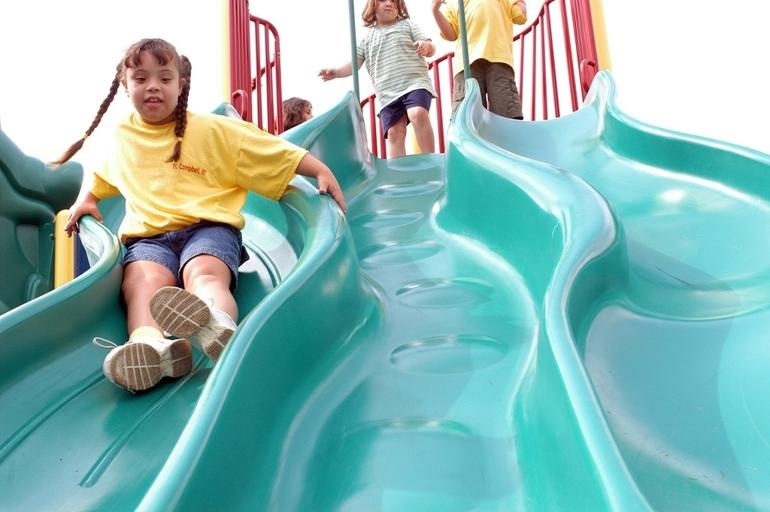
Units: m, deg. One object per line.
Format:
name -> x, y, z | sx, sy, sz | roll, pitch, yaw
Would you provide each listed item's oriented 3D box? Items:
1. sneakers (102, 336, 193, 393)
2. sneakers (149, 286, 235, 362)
sneakers -> -0.760, 0.342, 1.894 | 0.269, 0.144, 0.183 | -1, -2, -26
sneakers -> -0.647, 0.240, 1.959 | 0.263, 0.107, 0.123 | 40, -10, -15
